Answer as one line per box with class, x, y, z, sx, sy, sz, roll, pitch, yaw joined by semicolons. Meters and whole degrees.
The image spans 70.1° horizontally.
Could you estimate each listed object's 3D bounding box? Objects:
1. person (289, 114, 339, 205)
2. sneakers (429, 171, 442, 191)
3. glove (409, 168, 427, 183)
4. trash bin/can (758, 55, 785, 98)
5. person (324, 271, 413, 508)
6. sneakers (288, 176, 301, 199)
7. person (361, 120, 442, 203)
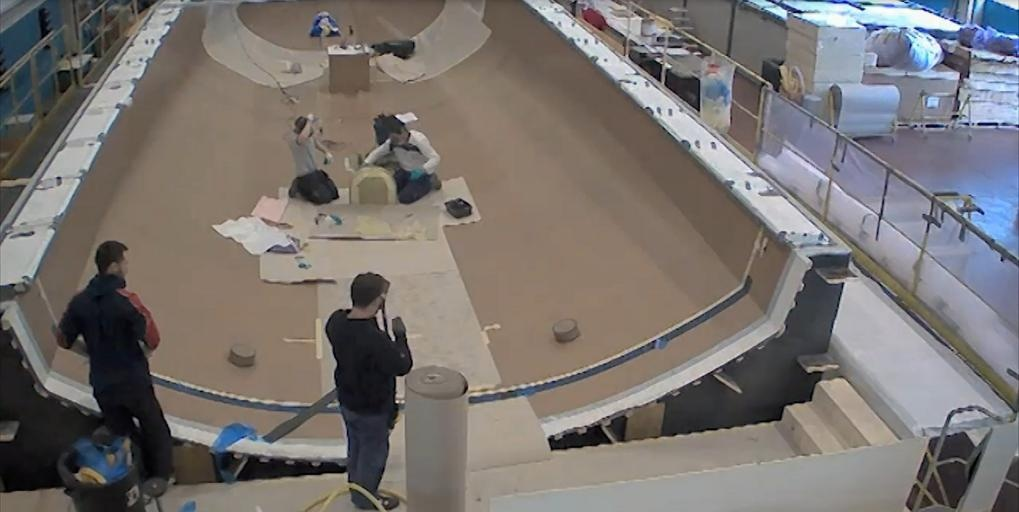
person;-2.163;-1.036;7.811;0.516;0.948;0.417;-8;11;-14
sneakers;-0.832;-0.840;8.107;0.133;0.183;0.060;-8;-13;31
glove;-1.004;-0.874;7.886;0.155;0.118;0.052;-44;-18;-8
trash bin/can;3.654;-2.474;10.006;0.344;0.381;0.434;12;23;6
person;-1.032;1.031;5.496;0.579;1.844;0.277;-8;11;-11
sneakers;-2.366;-0.749;7.930;0.094;0.221;0.142;13;13;-30
person;-1.249;-1.086;7.906;0.877;0.880;0.666;-9;34;-5
